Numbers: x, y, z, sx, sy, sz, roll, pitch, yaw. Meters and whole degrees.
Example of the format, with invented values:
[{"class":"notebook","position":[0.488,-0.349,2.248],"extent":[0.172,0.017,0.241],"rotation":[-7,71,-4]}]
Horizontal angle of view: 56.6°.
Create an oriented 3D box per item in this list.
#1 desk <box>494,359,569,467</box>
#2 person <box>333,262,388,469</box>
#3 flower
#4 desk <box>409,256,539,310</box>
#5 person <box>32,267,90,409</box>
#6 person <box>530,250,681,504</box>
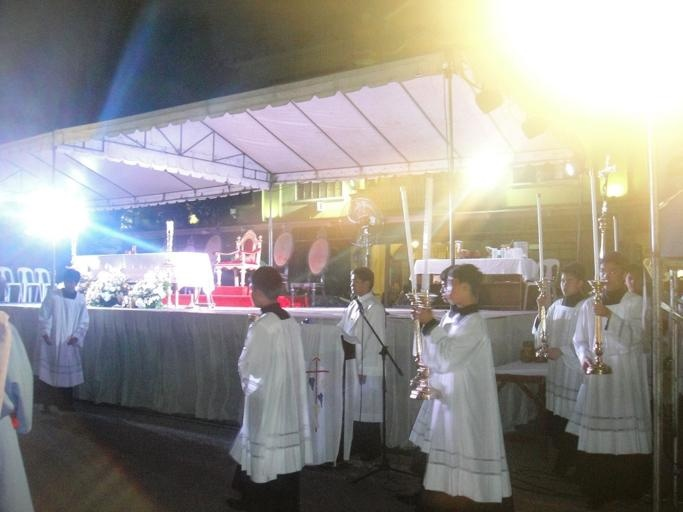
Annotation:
[{"class":"desk","position":[2.031,1.534,6.702],"extent":[0.746,1.097,1.037],"rotation":[-5,-7,27]},{"class":"person","position":[0.212,1.080,6.443],"extent":[0.454,1.936,0.869],"rotation":[0,-2,4]},{"class":"flower","position":[-3.001,0.461,8.785],"extent":[1.095,0.484,0.407],"rotation":[0,-2,9]},{"class":"desk","position":[2.507,0.383,9.980],"extent":[1.473,0.838,1.130],"rotation":[-3,-5,40]},{"class":"person","position":[-3.551,1.048,8.050],"extent":[0.579,1.785,0.481],"rotation":[1,-2,-25]},{"class":"person","position":[2.453,1.024,5.703],"extent":[0.748,2.085,0.781],"rotation":[0,-2,13]}]
